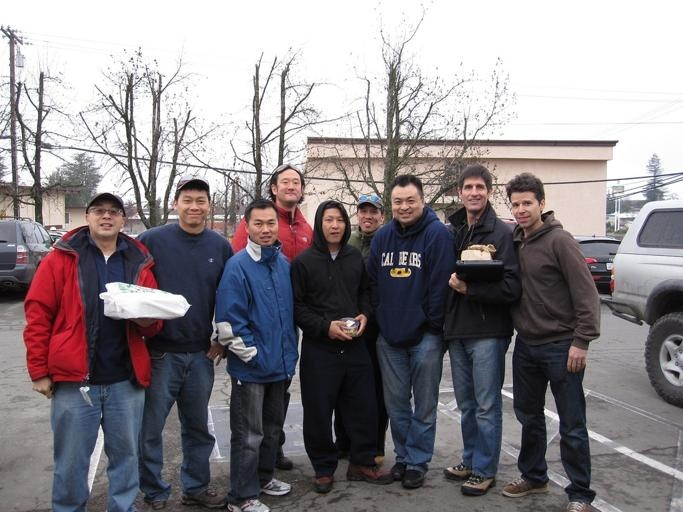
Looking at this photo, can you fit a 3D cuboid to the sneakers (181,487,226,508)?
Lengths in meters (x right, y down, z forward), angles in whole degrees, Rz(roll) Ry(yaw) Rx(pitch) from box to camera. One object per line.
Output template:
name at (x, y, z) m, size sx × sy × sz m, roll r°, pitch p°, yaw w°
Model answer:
sneakers at (-1.140, 2.012, 4.745) m, size 0.337 × 0.145 × 0.156 m, roll 1°, pitch -2°, yaw 0°

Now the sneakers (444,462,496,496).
sneakers at (1.057, 1.934, 4.996) m, size 0.164 × 0.216 × 0.499 m, roll -9°, pitch 12°, yaw -43°

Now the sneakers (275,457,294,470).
sneakers at (-0.538, 1.934, 5.366) m, size 0.177 × 0.077 × 0.077 m, roll -5°, pitch -6°, yaw 45°

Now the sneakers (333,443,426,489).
sneakers at (0.374, 1.866, 5.090) m, size 0.666 × 0.288 × 0.249 m, roll -4°, pitch 4°, yaw 5°

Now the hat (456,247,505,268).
hat at (1.170, -0.006, 4.891) m, size 0.365 × 0.151 × 0.294 m, roll 1°, pitch 7°, yaw 11°

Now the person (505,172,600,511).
person at (1.737, 0.667, 4.797) m, size 0.911 × 2.698 × 0.602 m, roll 7°, pitch 11°, yaw 42°

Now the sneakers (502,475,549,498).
sneakers at (1.539, 1.974, 4.925) m, size 0.414 × 0.166 × 0.141 m, roll 3°, pitch -10°, yaw -11°

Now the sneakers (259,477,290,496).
sneakers at (-0.583, 1.986, 4.964) m, size 0.256 × 0.122 × 0.109 m, roll 0°, pitch 0°, yaw 0°
